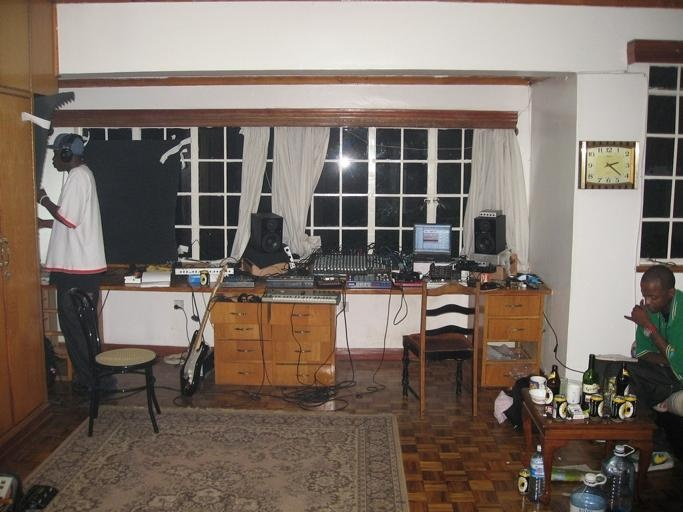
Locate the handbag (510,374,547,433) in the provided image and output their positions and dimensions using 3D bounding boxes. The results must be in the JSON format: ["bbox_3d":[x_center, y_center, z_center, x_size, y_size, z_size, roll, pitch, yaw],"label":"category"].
[{"bbox_3d":[1.477,1.175,5.229,0.279,0.313,0.503,-3,15,1],"label":"handbag"}]

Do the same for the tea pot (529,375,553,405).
[{"bbox_3d":[1.492,1.004,4.977,0.153,0.131,0.181,-2,-4,12],"label":"tea pot"}]

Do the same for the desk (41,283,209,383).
[{"bbox_3d":[-2.069,0.658,7.046,1.799,0.886,0.867,1,15,-5],"label":"desk"}]

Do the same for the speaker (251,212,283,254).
[{"bbox_3d":[-0.842,-0.236,6.506,0.241,0.408,0.439,-5,8,-43],"label":"speaker"}]

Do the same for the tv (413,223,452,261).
[{"bbox_3d":[0.918,-0.144,6.704,0.366,0.345,0.127,1,6,4],"label":"tv"}]

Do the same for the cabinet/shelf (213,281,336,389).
[{"bbox_3d":[-0.623,0.662,6.531,1.482,1.047,0.828,0,3,2],"label":"cabinet/shelf"}]

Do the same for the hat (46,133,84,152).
[{"bbox_3d":[-2.514,-1.045,6.056,0.291,0.147,0.178,8,14,-10],"label":"hat"}]

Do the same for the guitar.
[{"bbox_3d":[-1.268,0.665,6.174,0.331,1.159,0.726,0,6,6],"label":"guitar"}]

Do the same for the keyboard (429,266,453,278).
[{"bbox_3d":[0.956,0.172,6.375,0.177,0.112,0.034,3,-22,2],"label":"keyboard"}]

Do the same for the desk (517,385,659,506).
[{"bbox_3d":[1.816,1.320,4.961,0.844,0.592,0.829,1,4,8],"label":"desk"}]

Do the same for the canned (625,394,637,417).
[{"bbox_3d":[2.077,1.064,4.751,0.054,0.149,0.119,4,8,36],"label":"canned"}]

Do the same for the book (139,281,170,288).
[{"bbox_3d":[-1.794,0.267,6.406,0.258,0.052,0.105,-3,6,-21],"label":"book"}]

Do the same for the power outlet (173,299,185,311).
[{"bbox_3d":[-1.717,0.507,7.022,0.113,0.102,0.101,0,14,-4],"label":"power outlet"}]

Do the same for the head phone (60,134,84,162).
[{"bbox_3d":[-2.443,-1.012,6.087,0.227,0.203,0.225,7,20,-8],"label":"head phone"}]

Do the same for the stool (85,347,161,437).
[{"bbox_3d":[-1.747,1.120,5.678,0.704,0.737,0.664,1,3,-6],"label":"stool"}]

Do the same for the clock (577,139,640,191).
[{"bbox_3d":[2.364,-0.823,5.841,0.449,0.397,0.059,1,-1,1],"label":"clock"}]

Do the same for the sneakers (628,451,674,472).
[{"bbox_3d":[2.388,1.589,5.084,0.254,0.076,0.185,-1,28,7],"label":"sneakers"}]

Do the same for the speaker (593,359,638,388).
[{"bbox_3d":[2.116,0.908,5.119,0.292,0.265,0.154,1,-2,1],"label":"speaker"}]

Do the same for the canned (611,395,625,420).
[{"bbox_3d":[1.977,1.075,4.732,0.088,0.148,0.064,1,7,12],"label":"canned"}]
